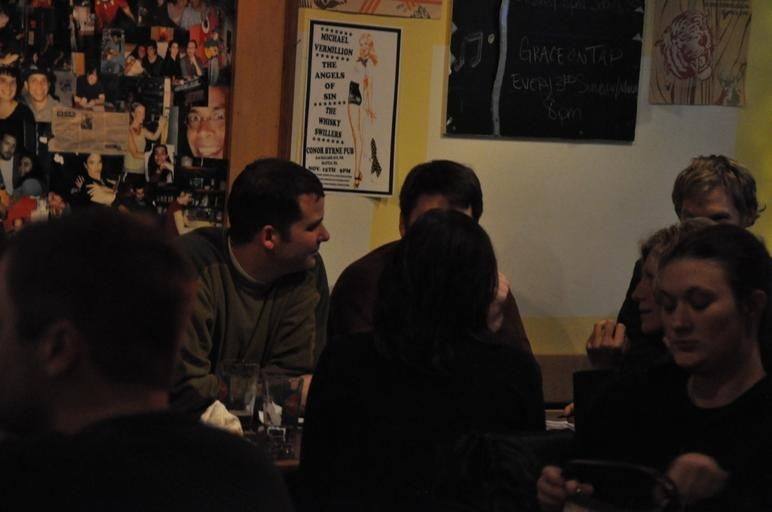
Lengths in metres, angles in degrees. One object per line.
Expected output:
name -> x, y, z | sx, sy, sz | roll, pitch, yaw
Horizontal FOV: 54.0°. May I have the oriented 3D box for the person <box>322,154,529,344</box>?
person -> 0.084, -0.063, 2.648 | 0.728, 0.721, 0.409 | 4, -17, -11
